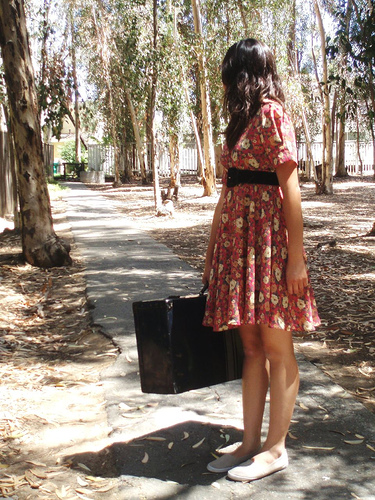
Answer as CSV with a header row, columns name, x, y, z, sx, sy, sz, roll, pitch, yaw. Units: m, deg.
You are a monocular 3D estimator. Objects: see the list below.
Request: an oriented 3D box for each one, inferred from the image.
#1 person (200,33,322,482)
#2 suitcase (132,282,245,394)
name,x,y,z,sx,sy,sz,roll,pitch,yaw
person,0.250,0.034,1.579,0.435,1.614,0.294,-1,3,17
suitcase,-0.226,0.474,1.782,0.162,0.387,0.417,11,-39,-28
